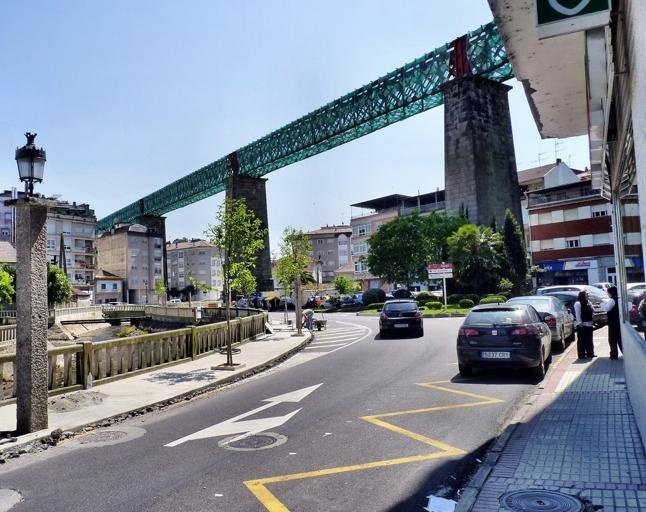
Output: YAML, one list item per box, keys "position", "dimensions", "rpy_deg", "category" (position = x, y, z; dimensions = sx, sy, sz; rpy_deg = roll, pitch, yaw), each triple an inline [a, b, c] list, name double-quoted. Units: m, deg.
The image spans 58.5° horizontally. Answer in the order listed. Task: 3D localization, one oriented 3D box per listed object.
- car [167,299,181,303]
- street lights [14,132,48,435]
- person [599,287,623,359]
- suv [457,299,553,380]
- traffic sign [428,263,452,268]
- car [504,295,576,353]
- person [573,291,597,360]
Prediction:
- position: [-26.489, 7.938, 103.084]
  dimensions: [2.006, 1.074, 1.340]
  rpy_deg: [6, -2, -9]
  category: "car"
- position: [-4.631, 0.317, 9.191]
  dimensions: [0.592, 4.871, 0.651]
  rpy_deg: [-2, -5, -30]
  category: "street lights"
- position: [6.358, 1.468, 12.688]
  dimensions: [0.283, 1.218, 1.726]
  rpy_deg: [-7, -5, 25]
  category: "person"
- position: [3.647, 1.701, 11.775]
  dimensions: [1.080, 1.124, 2.244]
  rpy_deg: [-2, 0, 22]
  category: "suv"
- position: [7.795, 0.669, 38.761]
  dimensions: [1.485, 0.427, 0.393]
  rpy_deg: [-8, -6, 18]
  category: "traffic sign"
- position: [5.219, 1.651, 13.831]
  dimensions: [1.265, 1.077, 3.142]
  rpy_deg: [-2, -2, 23]
  category: "car"
- position: [6.080, 1.596, 13.473]
  dimensions: [0.409, 1.144, 0.555]
  rpy_deg: [-7, -5, 24]
  category: "person"
